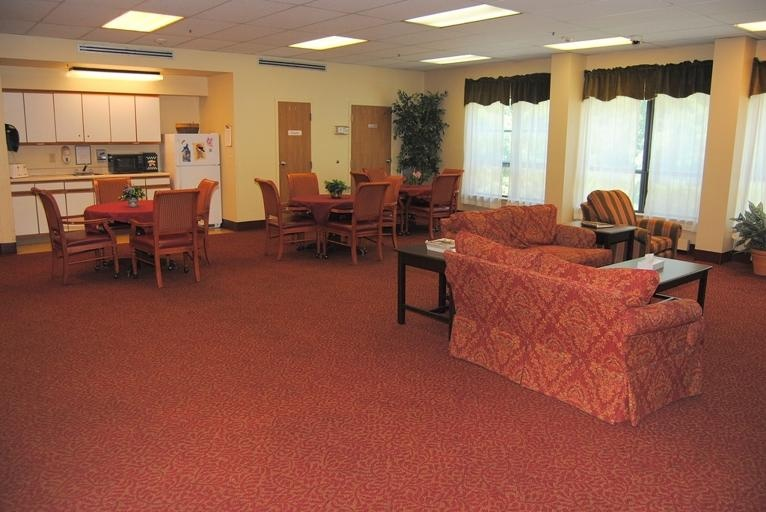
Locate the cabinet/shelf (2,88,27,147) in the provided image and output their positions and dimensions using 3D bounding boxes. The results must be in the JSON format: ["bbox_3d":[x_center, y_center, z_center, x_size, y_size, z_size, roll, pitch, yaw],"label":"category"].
[{"bbox_3d":[-6.516,-2.462,9.212,0.316,0.890,0.092,-13,16,-43],"label":"cabinet/shelf"}]

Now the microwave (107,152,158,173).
[{"bbox_3d":[-5.001,-1.853,10.384,0.900,0.387,0.323,-6,13,-23],"label":"microwave"}]

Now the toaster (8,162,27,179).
[{"bbox_3d":[-6.526,-1.524,9.270,0.281,0.203,0.285,-8,14,-42],"label":"toaster"}]

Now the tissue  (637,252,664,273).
[{"bbox_3d":[2.882,0.066,5.597,0.149,0.131,0.215,9,15,43],"label":"tissue "}]

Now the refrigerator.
[{"bbox_3d":[-3.827,-1.521,10.929,0.927,1.659,0.984,0,5,-1],"label":"refrigerator"}]

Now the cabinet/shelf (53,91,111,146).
[{"bbox_3d":[-5.645,-2.618,9.918,1.051,0.926,0.352,-1,3,2],"label":"cabinet/shelf"}]

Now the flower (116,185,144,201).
[{"bbox_3d":[-3.716,-0.918,7.702,0.348,0.222,0.323,0,6,-11],"label":"flower"}]

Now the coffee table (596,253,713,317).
[{"bbox_3d":[3.004,0.134,5.782,0.895,0.781,0.871,-10,16,-25],"label":"coffee table"}]

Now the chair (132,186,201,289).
[{"bbox_3d":[-3.103,-0.307,7.359,0.889,1.293,1.273,-7,13,-25],"label":"chair"}]

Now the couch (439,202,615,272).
[{"bbox_3d":[1.833,-0.180,6.469,2.024,0.820,1.261,-9,14,-38],"label":"couch"}]

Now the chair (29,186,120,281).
[{"bbox_3d":[-4.297,-0.307,7.308,0.880,1.172,0.978,7,11,31],"label":"chair"}]

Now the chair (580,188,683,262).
[{"bbox_3d":[3.623,-0.416,7.683,1.244,0.997,1.077,15,22,42],"label":"chair"}]

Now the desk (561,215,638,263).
[{"bbox_3d":[3.031,-0.294,7.210,0.670,0.597,0.661,-15,19,-37],"label":"desk"}]

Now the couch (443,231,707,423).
[{"bbox_3d":[1.700,0.504,4.896,1.263,1.162,2.035,-7,13,-40],"label":"couch"}]

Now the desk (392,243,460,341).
[{"bbox_3d":[0.722,0.392,5.845,0.791,0.845,0.964,-1,-11,31],"label":"desk"}]
